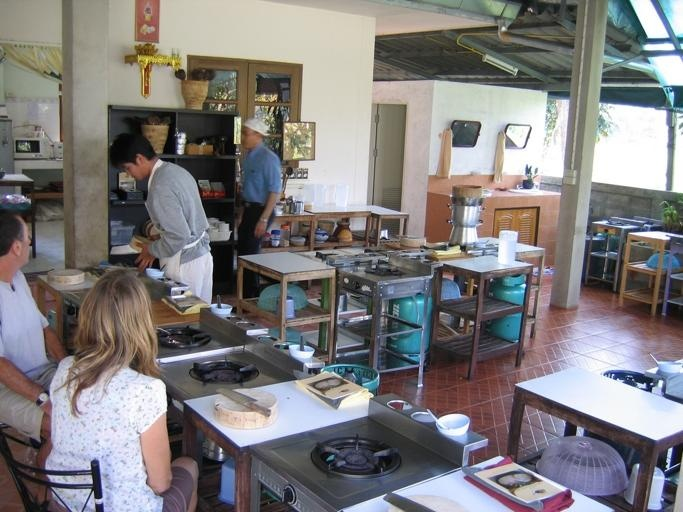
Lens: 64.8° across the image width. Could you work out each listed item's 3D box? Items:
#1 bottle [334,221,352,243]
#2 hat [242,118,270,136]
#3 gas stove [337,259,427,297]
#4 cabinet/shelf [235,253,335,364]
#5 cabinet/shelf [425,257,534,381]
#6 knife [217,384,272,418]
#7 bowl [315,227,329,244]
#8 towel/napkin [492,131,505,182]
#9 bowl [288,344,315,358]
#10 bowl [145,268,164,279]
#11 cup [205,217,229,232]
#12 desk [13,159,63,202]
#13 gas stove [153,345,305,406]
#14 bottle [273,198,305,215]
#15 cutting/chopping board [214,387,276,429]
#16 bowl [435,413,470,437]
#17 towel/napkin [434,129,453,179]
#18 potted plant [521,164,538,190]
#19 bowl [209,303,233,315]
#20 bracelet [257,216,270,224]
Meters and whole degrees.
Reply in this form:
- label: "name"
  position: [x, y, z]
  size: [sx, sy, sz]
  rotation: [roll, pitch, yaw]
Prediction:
- label: "bottle"
  position: [0.020, -0.348, 8.016]
  size: [0.320, 0.271, 0.313]
  rotation: [-7, 10, -40]
- label: "hat"
  position: [-0.980, -1.508, 6.234]
  size: [0.328, 0.115, 0.210]
  rotation: [21, 10, -8]
- label: "gas stove"
  position: [0.398, 0.258, 5.103]
  size: [0.601, 0.234, 0.742]
  rotation: [-7, 10, -29]
- label: "cabinet/shelf"
  position: [-0.478, 0.484, 5.058]
  size: [0.773, 0.942, 0.947]
  rotation: [-6, 12, -37]
- label: "cabinet/shelf"
  position: [1.436, 0.672, 5.633]
  size: [1.239, 1.323, 0.897]
  rotation: [-9, 16, -35]
- label: "knife"
  position: [-0.451, 0.659, 2.484]
  size: [0.298, 0.026, 0.087]
  rotation: [11, 15, 43]
- label: "bowl"
  position: [-0.307, -0.290, 7.961]
  size: [0.222, 0.126, 0.208]
  rotation: [0, 9, 0]
- label: "towel/napkin"
  position: [3.092, -1.944, 10.566]
  size: [0.250, 1.004, 0.127]
  rotation: [-2, 13, -34]
- label: "bowl"
  position: [-0.241, 0.555, 3.101]
  size: [0.120, 0.043, 0.105]
  rotation: [2, 9, 18]
- label: "bowl"
  position: [-1.568, 0.144, 4.480]
  size: [0.125, 0.039, 0.106]
  rotation: [0, 11, -7]
- label: "cup"
  position: [-1.686, -0.429, 7.237]
  size: [0.195, 0.078, 0.261]
  rotation: [-11, 18, -41]
- label: "desk"
  position: [-7.135, -1.680, 12.754]
  size: [1.166, 0.545, 0.625]
  rotation: [6, -2, -32]
- label: "gas stove"
  position: [-0.645, 0.684, 2.995]
  size: [0.584, 0.104, 0.567]
  rotation: [-8, 10, -26]
- label: "bottle"
  position: [-0.735, -0.697, 7.608]
  size: [0.445, 0.160, 0.238]
  rotation: [2, 8, 16]
- label: "cutting/chopping board"
  position: [-0.454, 0.728, 2.474]
  size: [0.253, 0.070, 0.219]
  rotation: [5, -4, 3]
- label: "bowl"
  position: [0.486, 0.760, 2.403]
  size: [0.126, 0.037, 0.113]
  rotation: [7, 20, 27]
- label: "towel/napkin"
  position: [1.921, -1.873, 9.809]
  size: [0.325, 0.889, 0.186]
  rotation: [-6, 13, -34]
- label: "potted plant"
  position: [3.841, -1.626, 10.982]
  size: [0.292, 0.518, 0.754]
  rotation: [6, 10, 20]
- label: "bowl"
  position: [-0.800, 0.361, 3.608]
  size: [0.103, 0.035, 0.092]
  rotation: [-3, 13, -22]
- label: "bracelet"
  position: [-0.904, -0.414, 6.229]
  size: [0.094, 0.063, 0.080]
  rotation: [-6, 5, 4]
